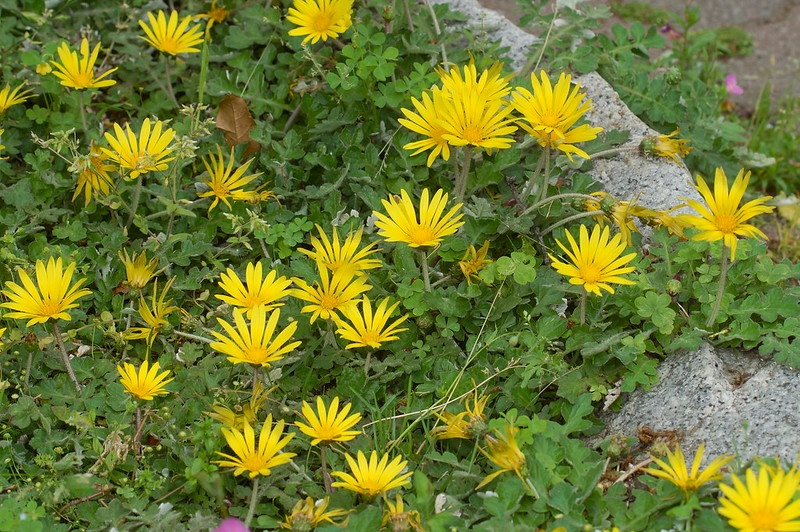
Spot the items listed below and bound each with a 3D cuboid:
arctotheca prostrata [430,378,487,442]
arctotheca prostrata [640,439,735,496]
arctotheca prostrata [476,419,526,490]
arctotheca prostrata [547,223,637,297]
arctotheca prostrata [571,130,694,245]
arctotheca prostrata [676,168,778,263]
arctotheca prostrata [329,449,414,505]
[{"bbox_3d":[0.234,0.561,2.500,0.218,0.126,0.237,-40,22,20],"label":"arctotheca prostrata"},{"bbox_3d":[0.955,0.728,2.256,0.278,0.285,0.121,-41,78,8],"label":"arctotheca prostrata"},{"bbox_3d":[0.373,0.675,2.391,0.145,0.237,0.227,18,21,3],"label":"arctotheca prostrata"},{"bbox_3d":[0.734,-0.014,2.496,0.312,0.121,0.312,-12,38,-35],"label":"arctotheca prostrata"},{"bbox_3d":[1.013,-0.314,2.940,0.551,0.253,0.566,-3,66,18],"label":"arctotheca prostrata"},{"bbox_3d":[1.259,-0.151,2.522,0.395,0.418,0.283,-3,59,10],"label":"arctotheca prostrata"},{"bbox_3d":[-0.105,0.755,2.249,0.279,0.117,0.254,-4,9,29],"label":"arctotheca prostrata"}]
